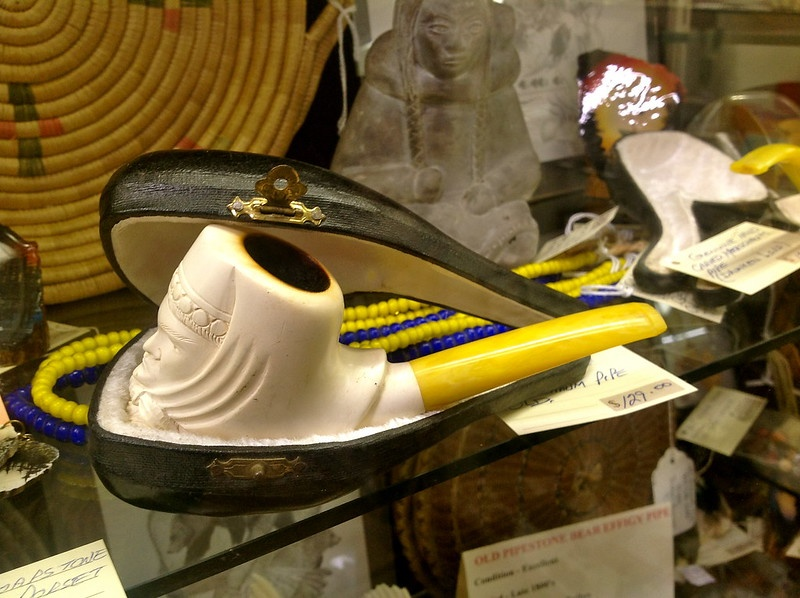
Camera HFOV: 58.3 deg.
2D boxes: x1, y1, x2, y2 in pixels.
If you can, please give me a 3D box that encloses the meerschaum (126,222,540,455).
[{"bbox_3d":[-0.100,0.029,0.601,0.261,0.143,0.112,-4,38,-8],"label":"meerschaum"}]
